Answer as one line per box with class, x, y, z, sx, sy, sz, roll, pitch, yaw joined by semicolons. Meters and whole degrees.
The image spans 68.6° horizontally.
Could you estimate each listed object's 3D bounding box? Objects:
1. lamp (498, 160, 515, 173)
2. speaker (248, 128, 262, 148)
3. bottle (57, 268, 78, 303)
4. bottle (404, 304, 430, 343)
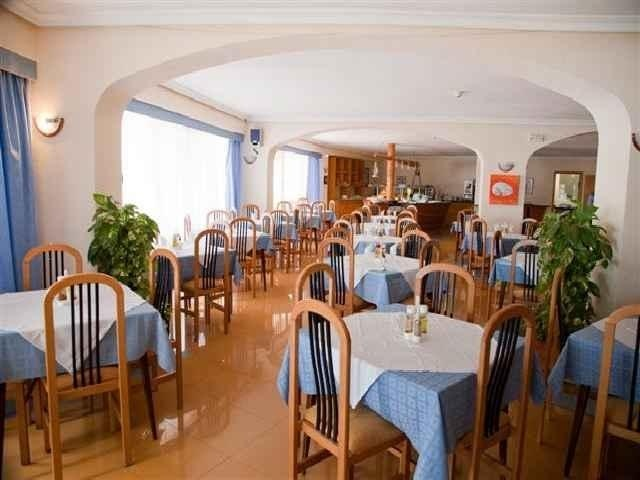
lamp;3.415;-1.334;8.579;0.203;0.164;0.205;-11;18;-29
speaker;-1.238;-1.945;8.976;0.229;0.323;0.147;-1;5;-9
bottle;-1.802;0.335;3.326;0.185;0.216;0.176;-7;14;-43
bottle;0.637;0.562;3.093;0.141;0.271;0.145;-1;16;0
